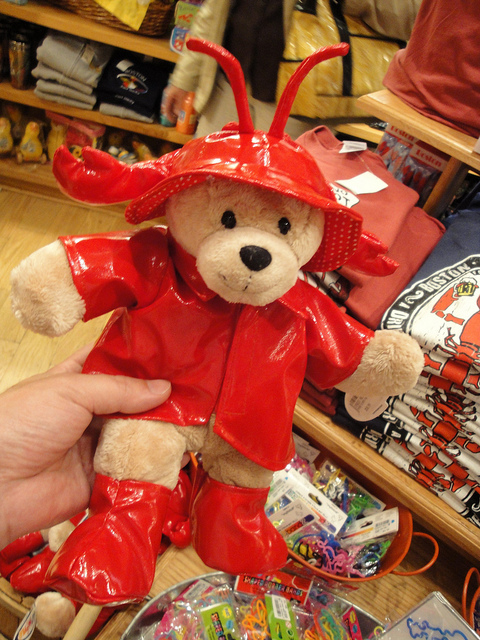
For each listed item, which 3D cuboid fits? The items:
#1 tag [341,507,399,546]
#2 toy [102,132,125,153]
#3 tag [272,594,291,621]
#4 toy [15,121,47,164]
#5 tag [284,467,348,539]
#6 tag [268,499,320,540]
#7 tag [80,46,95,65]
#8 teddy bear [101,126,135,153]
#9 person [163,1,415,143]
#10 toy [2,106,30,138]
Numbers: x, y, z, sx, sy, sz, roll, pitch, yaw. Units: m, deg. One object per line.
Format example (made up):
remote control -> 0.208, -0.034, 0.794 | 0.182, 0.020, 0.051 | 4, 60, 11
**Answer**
tag -> 0.272, 0.435, 1.005 | 0.099, 0.022, 0.069 | -18, 11, 0
toy -> -0.598, -0.858, 2.299 | 0.083, 0.108, 0.049 | 16, 4, -31
tag -> 0.079, 0.535, 0.890 | 0.036, 0.008, 0.033 | 15, 46, -29
toy -> -0.957, -0.807, 2.197 | 0.151, 0.179, 0.131 | 10, 45, -32
tag -> 0.142, 0.382, 0.990 | 0.159, 0.032, 0.171 | 22, 17, -40
tag -> 0.105, 0.390, 0.940 | 0.081, 0.107, 0.011 | 43, 29, -5
tag -> -0.618, -1.076, 1.962 | 0.054, 0.066, 0.067 | 0, 39, -14
teddy bear -> -0.574, -0.870, 2.314 | 0.141, 0.129, 0.037 | 0, 22, -34
person -> 0.130, -0.748, 1.577 | 0.672, 0.289, 0.817 | -5, 25, -17
toy -> -1.031, -0.904, 2.253 | 0.065, 0.141, 0.110 | -12, 6, 45
